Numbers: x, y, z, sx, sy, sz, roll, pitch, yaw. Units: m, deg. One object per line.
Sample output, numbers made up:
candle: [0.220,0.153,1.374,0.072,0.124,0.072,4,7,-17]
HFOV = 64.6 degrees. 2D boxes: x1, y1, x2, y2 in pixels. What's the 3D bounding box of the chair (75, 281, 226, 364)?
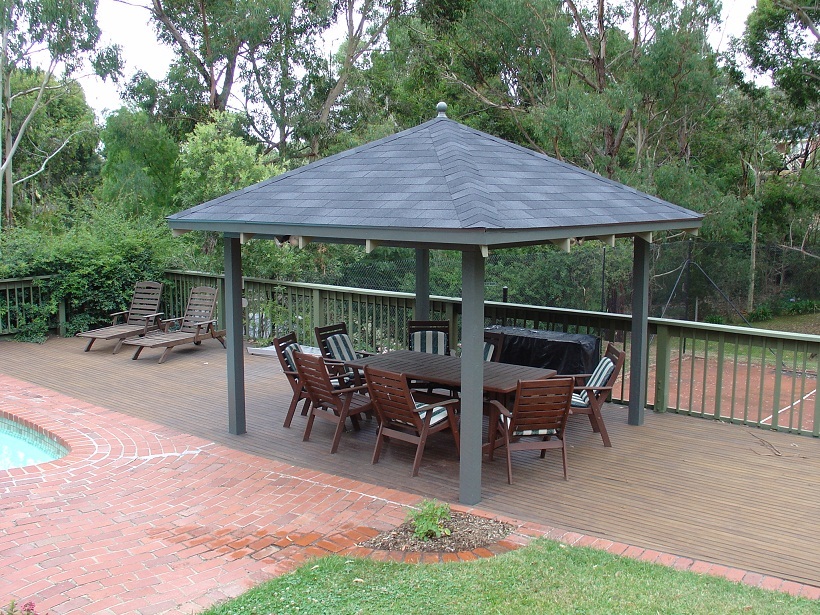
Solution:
chair: [-5.360,0.225,13.722,2.765,1.430,1.702,5,8,28]
